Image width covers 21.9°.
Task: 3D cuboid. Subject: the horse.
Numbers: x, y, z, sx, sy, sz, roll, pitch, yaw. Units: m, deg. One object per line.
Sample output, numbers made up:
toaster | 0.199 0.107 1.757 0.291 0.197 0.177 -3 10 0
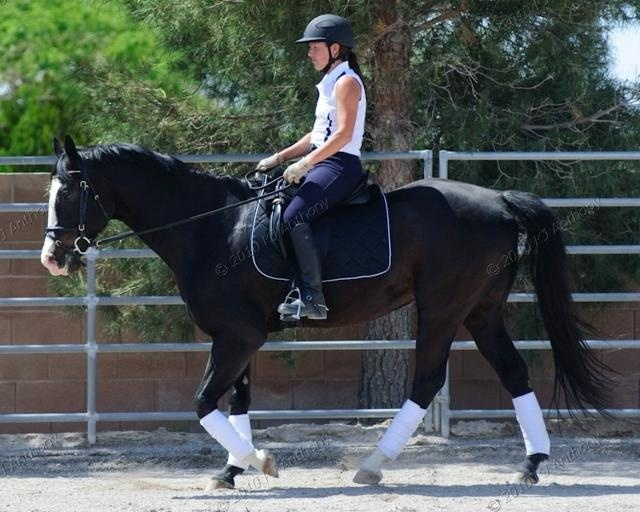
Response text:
horse | 0.031 0.596 13.648 4.720 2.700 1.118 1 0 1

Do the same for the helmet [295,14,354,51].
helmet | 0.049 -1.802 13.434 0.477 0.258 0.351 2 -5 -1

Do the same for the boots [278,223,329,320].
boots | -0.172 0.121 13.110 0.389 0.760 0.154 -4 3 -11

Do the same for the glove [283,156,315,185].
glove | -0.203 -0.686 13.189 0.226 0.078 0.169 -40 38 7
